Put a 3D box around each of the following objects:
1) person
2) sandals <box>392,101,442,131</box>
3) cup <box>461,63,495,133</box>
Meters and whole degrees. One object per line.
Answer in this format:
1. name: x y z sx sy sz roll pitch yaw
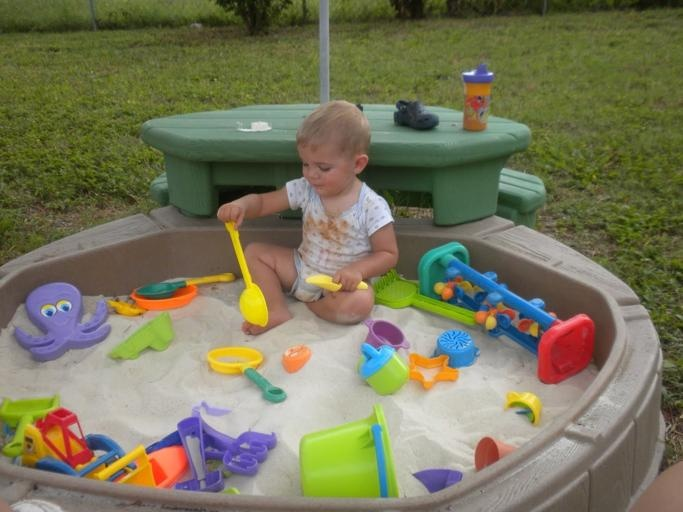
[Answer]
1. person: -0.154 -0.142 2.785 0.648 0.941 0.632 20 36 29
2. sandals: 0.390 -0.714 3.125 0.126 0.110 0.246 -26 38 -34
3. cup: 0.676 -0.802 2.997 0.140 0.324 0.215 5 29 11
